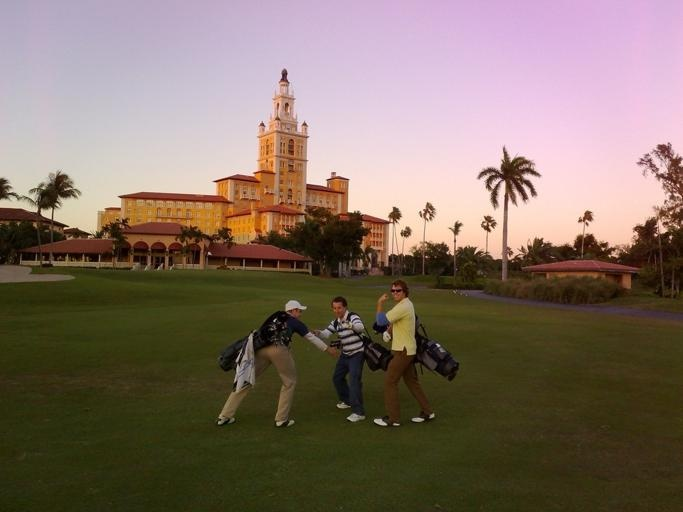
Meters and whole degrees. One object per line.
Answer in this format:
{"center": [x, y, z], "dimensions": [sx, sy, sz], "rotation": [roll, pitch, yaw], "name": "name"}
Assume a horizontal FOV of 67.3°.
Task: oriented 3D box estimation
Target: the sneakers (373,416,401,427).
{"center": [0.802, 3.028, 9.210], "dimensions": [0.363, 0.118, 0.176], "rotation": [3, -4, 7], "name": "sneakers"}

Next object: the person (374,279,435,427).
{"center": [1.058, 1.773, 9.123], "dimensions": [1.260, 2.355, 0.543], "rotation": [1, 0, -30], "name": "person"}

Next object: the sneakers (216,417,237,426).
{"center": [-2.058, 2.941, 9.164], "dimensions": [0.121, 0.147, 0.333], "rotation": [8, 7, 39], "name": "sneakers"}

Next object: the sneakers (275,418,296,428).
{"center": [-1.003, 3.010, 9.068], "dimensions": [0.335, 0.153, 0.122], "rotation": [-3, 9, -29], "name": "sneakers"}

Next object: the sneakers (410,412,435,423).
{"center": [1.485, 3.027, 9.501], "dimensions": [0.439, 0.193, 0.166], "rotation": [2, -6, -12], "name": "sneakers"}

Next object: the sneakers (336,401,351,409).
{"center": [0.016, 3.001, 10.236], "dimensions": [0.333, 0.157, 0.136], "rotation": [-4, -1, 31], "name": "sneakers"}

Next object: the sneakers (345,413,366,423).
{"center": [0.245, 3.004, 9.411], "dimensions": [0.296, 0.132, 0.127], "rotation": [6, -11, -20], "name": "sneakers"}
